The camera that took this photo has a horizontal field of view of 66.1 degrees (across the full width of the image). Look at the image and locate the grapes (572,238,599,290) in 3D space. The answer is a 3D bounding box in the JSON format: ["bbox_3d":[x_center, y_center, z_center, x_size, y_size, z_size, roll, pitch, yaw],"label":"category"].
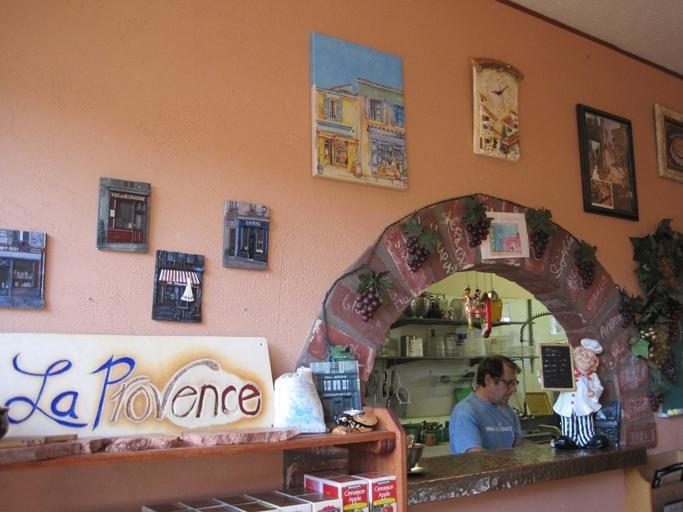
[{"bbox_3d":[1.521,0.055,3.263,0.110,0.269,0.092,1,-3,5],"label":"grapes"}]

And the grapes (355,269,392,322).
[{"bbox_3d":[0.158,0.174,2.540,0.137,0.216,0.088,4,4,12],"label":"grapes"}]

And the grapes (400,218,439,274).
[{"bbox_3d":[0.403,-0.075,2.694,0.192,0.293,0.089,0,-14,6],"label":"grapes"}]

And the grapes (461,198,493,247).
[{"bbox_3d":[0.755,-0.204,2.922,0.225,0.302,0.084,12,-17,-34],"label":"grapes"}]

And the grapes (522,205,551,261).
[{"bbox_3d":[1.173,-0.147,3.124,0.078,0.279,0.147,0,2,-22],"label":"grapes"}]

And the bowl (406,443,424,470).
[{"bbox_3d":[0.342,0.947,2.486,0.102,0.085,0.110,-2,-15,0],"label":"bowl"}]

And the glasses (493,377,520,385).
[{"bbox_3d":[1.090,0.856,3.576,0.122,0.041,0.123,13,-23,-28],"label":"glasses"}]

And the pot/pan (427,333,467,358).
[{"bbox_3d":[1.084,0.908,5.556,0.265,0.193,0.275,-3,-7,36],"label":"pot/pan"}]

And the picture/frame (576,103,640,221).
[{"bbox_3d":[1.777,-0.628,3.557,0.676,0.965,0.073,9,-16,-34],"label":"picture/frame"}]

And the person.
[{"bbox_3d":[0.956,0.982,3.541,0.344,0.631,0.769,-10,-18,37],"label":"person"}]

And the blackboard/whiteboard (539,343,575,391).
[{"bbox_3d":[1.309,0.681,3.207,0.251,0.386,0.047,2,-11,-11],"label":"blackboard/whiteboard"}]

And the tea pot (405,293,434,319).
[{"bbox_3d":[0.832,0.490,5.449,0.196,0.333,0.453,-7,-17,31],"label":"tea pot"}]
